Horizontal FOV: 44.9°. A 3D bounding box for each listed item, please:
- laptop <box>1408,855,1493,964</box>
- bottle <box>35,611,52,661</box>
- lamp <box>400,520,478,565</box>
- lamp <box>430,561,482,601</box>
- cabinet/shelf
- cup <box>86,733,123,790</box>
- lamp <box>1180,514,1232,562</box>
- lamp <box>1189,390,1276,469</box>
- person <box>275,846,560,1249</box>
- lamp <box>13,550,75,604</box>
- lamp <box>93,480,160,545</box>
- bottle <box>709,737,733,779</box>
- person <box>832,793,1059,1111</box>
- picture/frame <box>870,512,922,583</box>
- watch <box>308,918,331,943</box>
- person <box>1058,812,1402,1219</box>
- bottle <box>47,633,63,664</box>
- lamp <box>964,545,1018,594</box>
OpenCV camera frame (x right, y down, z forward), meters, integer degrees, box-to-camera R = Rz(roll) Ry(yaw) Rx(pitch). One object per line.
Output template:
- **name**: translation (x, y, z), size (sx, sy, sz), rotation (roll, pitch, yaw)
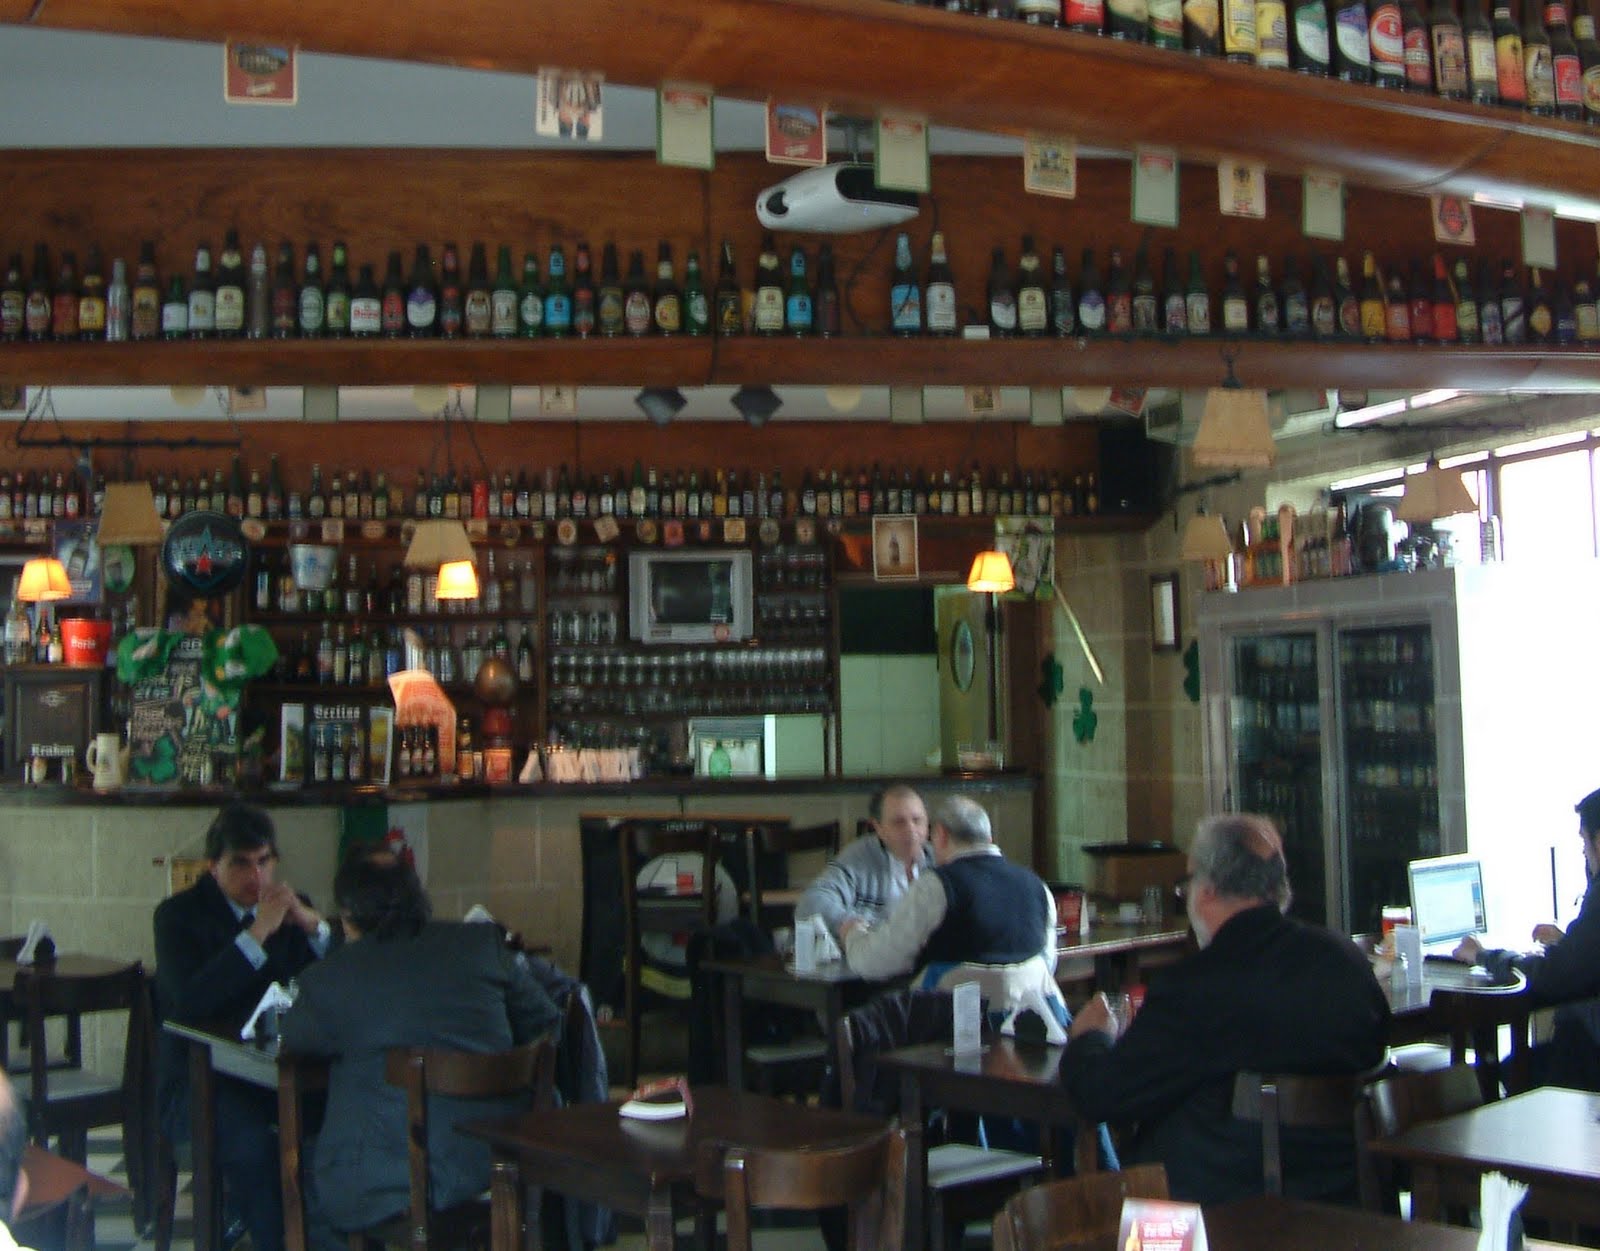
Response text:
- **laptop**: translation (2.536, 1.105, 7.573), size (0.358, 0.314, 0.048), rotation (0, -5, -43)
- **bottle**: translation (-4.630, 0.047, 11.789), size (0.097, 0.320, 0.091), rotation (-2, -5, 0)
- **lamp**: translation (-2.011, -0.488, 10.745), size (0.345, 0.250, 0.258), rotation (-1, -5, -8)
- **lamp**: translation (-2.013, -0.255, 11.170), size (0.239, 0.287, 0.268), rotation (0, -2, -10)
- **cabinet/shelf**: translation (-2.990, -0.086, 11.599), size (2.854, 1.042, 1.165), rotation (-1, -5, -10)
- **cup**: translation (-3.912, 0.754, 10.861), size (0.256, 0.364, 0.189), rotation (1, -1, -23)
- **lamp**: translation (2.163, -0.469, 10.355), size (0.224, 0.221, 0.254), rotation (0, 0, -2)
- **lamp**: translation (1.745, -0.788, 7.876), size (0.305, 0.347, 0.296), rotation (0, -1, -4)
- **person**: translation (-1.219, 1.316, 6.022), size (0.797, 1.236, 0.436), rotation (-1, -5, -10)
- **lamp**: translation (-4.331, -0.257, 11.062), size (0.310, 0.290, 0.323), rotation (-3, -3, 36)
- **lamp**: translation (-3.327, -0.557, 9.587), size (0.274, 0.333, 0.316), rotation (0, -4, -6)
- **bottle**: translation (-0.486, 0.784, 11.746), size (0.138, 0.204, 0.149), rotation (-2, -5, 0)
- **person**: translation (0.505, 1.177, 7.089), size (0.827, 1.473, 0.816), rotation (6, -9, -26)
- **picture/frame**: translation (0.559, -0.507, 12.007), size (0.290, 0.520, 0.331), rotation (0, -4, -4)
- **watch**: translation (-1.764, 1.117, 7.128), size (0.045, 0.072, 0.067), rotation (1, -13, -9)
- **person**: translation (1.252, 1.121, 5.738), size (0.946, 1.119, 0.282), rotation (-3, -5, 9)
- **bottle**: translation (-4.545, 0.131, 11.766), size (0.080, 0.168, 0.070), rotation (-6, -7, 40)
- **lamp**: translation (1.138, -0.328, 11.400), size (0.249, 0.297, 0.282), rotation (0, 3, -4)
